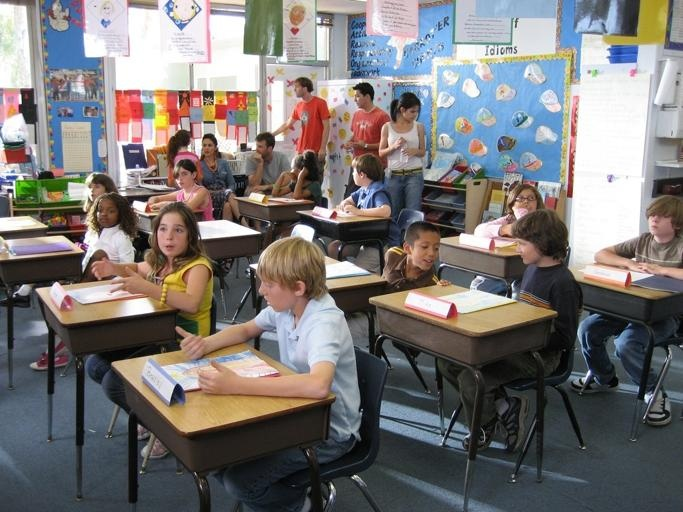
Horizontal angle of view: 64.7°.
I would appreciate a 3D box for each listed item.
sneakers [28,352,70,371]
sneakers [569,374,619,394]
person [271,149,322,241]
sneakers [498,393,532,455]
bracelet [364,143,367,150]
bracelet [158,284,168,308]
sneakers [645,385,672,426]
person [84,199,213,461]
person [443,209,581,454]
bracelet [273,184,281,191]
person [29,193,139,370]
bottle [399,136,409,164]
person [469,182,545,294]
[{"bbox_3d":[-2.068,0.756,3.836,0.337,0.132,0.221,1,-1,-20],"label":"sneakers"},{"bbox_3d":[1.675,0.854,3.639,0.309,0.154,0.138,2,1,2],"label":"sneakers"},{"bbox_3d":[-0.517,-0.726,6.482,0.589,1.009,0.544,-3,9,-12],"label":"person"},{"bbox_3d":[0.896,0.866,2.855,0.166,0.370,0.120,-4,16,-9],"label":"sneakers"},{"bbox_3d":[0.326,-1.454,7.258,0.050,0.085,0.078,-1,3,-4],"label":"bracelet"},{"bbox_3d":[-0.861,0.182,2.629,0.030,0.078,0.068,2,28,-13],"label":"bracelet"},{"bbox_3d":[1.922,0.918,3.301,0.104,0.128,0.294,-12,5,26],"label":"sneakers"},{"bbox_3d":[-0.988,0.396,2.841,0.599,1.307,0.631,6,3,33],"label":"person"},{"bbox_3d":[0.941,0.435,2.843,0.809,1.284,0.448,-9,17,-26],"label":"person"},{"bbox_3d":[-0.790,-0.829,6.594,0.038,0.047,0.154,20,29,0],"label":"bracelet"},{"bbox_3d":[-1.726,0.091,3.798,0.392,1.030,0.557,7,13,-1],"label":"person"},{"bbox_3d":[0.739,-1.250,6.513,0.093,0.196,0.122,-5,-4,-4],"label":"bottle"},{"bbox_3d":[1.289,-0.079,4.025,0.526,0.831,0.517,-12,13,1],"label":"person"}]
